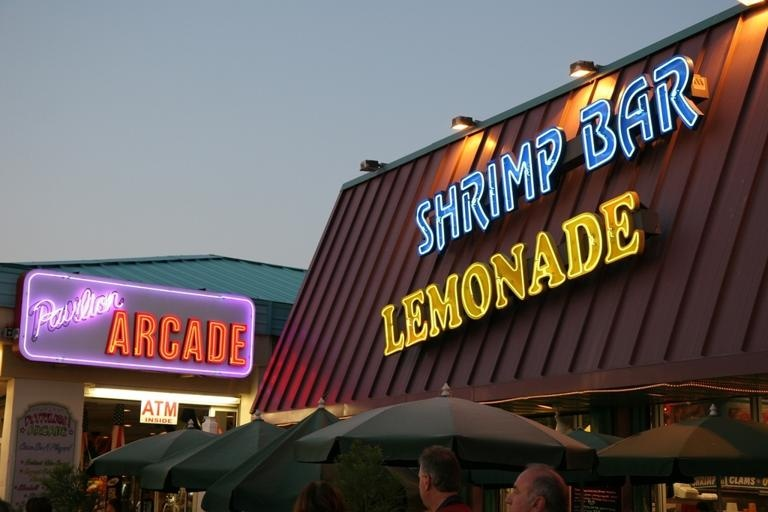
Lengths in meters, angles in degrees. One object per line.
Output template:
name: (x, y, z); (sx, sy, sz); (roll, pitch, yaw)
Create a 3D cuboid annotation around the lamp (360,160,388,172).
lamp: (-0.332, -2.530, 29.737); (0.596, 0.238, 0.322); (4, -17, -29)

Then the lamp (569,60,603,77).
lamp: (4.651, -4.278, 24.781); (0.629, 0.314, 0.438); (4, -10, -35)

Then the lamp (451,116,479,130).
lamp: (2.027, -3.365, 27.266); (0.417, 0.193, 0.403); (6, -13, -22)
